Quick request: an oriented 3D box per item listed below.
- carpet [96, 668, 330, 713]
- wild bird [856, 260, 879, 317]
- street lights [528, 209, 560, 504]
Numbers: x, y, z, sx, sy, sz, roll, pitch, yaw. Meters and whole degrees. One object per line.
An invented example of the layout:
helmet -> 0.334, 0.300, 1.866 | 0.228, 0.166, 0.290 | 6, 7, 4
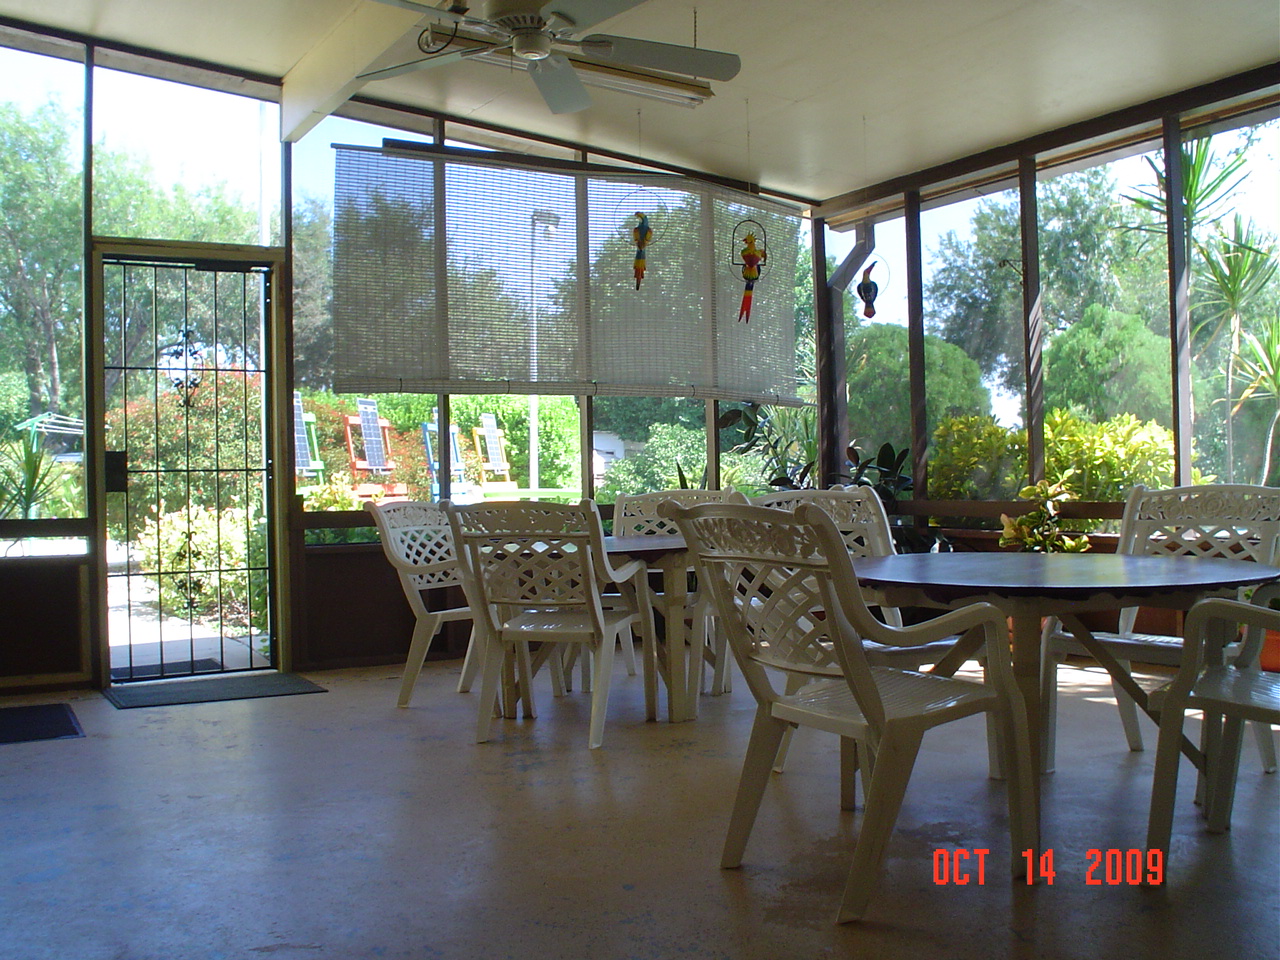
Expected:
carpet -> -2.351, 1.147, 5.592 | 1.103, 0.050, 0.764 | -3, 4, -22
wild bird -> 1.401, -1.180, 6.256 | 0.102, 0.352, 0.377 | 0, 4, 11
street lights -> -0.679, -0.843, 6.679 | 0.199, 1.850, 0.281 | 3, 6, 44
